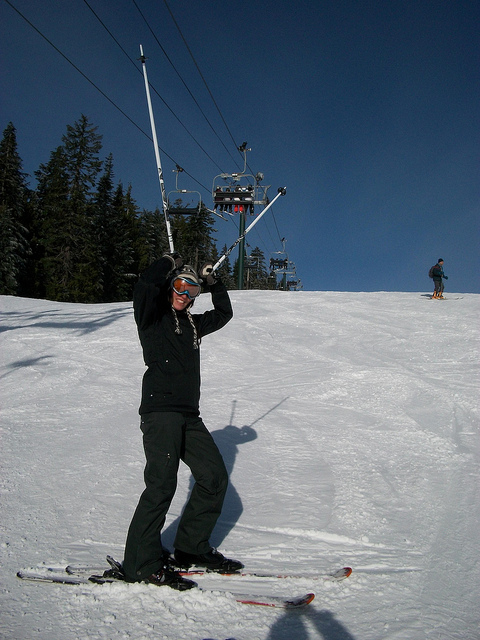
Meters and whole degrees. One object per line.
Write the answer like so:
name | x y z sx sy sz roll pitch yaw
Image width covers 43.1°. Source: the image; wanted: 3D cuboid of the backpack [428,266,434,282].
backpack | 6.488 -1.567 20.487 0.148 0.309 0.467 8 8 18

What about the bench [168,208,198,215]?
bench | -2.187 -4.150 23.045 0.961 0.242 2.540 3 8 -9

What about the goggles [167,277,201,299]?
goggles | -0.392 -0.214 4.161 0.151 0.079 0.190 25 -9 -21

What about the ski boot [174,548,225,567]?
ski boot | -0.268 1.573 4.080 0.373 0.138 0.117 0 -5 -5

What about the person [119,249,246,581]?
person | -0.395 0.617 4.252 0.788 2.128 1.393 3 8 -10

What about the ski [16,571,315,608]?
ski | -0.502 1.620 3.641 1.745 0.127 0.172 -1 -22 5
